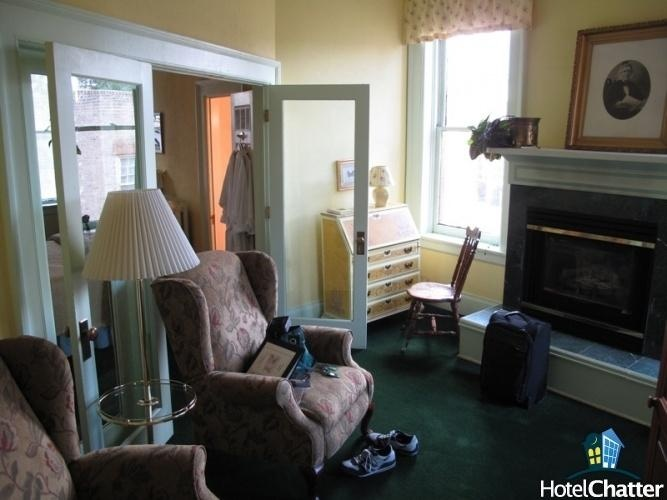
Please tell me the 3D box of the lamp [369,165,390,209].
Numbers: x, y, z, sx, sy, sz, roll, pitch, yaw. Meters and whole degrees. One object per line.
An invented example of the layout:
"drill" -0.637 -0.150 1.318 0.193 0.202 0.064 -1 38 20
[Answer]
"lamp" 0.438 -0.605 4.866 0.207 0.381 0.217 -7 12 -29

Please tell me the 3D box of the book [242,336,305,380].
"book" -0.352 0.653 3.063 0.220 0.237 0.063 7 -30 29

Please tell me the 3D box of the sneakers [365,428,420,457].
"sneakers" 0.369 1.210 3.315 0.353 0.143 0.134 6 9 20

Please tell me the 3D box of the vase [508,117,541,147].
"vase" 1.553 -0.910 4.241 0.211 0.317 0.302 5 10 44

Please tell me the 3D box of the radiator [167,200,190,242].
"radiator" -1.818 -0.357 6.035 0.166 0.259 0.158 0 15 46

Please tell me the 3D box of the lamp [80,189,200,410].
"lamp" -0.935 0.023 2.481 0.481 0.980 0.492 12 24 30

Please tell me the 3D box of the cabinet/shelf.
"cabinet/shelf" 0.374 0.124 4.951 0.855 1.050 0.456 -14 18 -33

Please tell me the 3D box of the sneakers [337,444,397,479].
"sneakers" 0.213 1.262 3.142 0.336 0.143 0.135 -1 1 -27

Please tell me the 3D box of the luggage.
"luggage" 1.368 0.783 3.868 0.481 0.676 0.464 6 11 24

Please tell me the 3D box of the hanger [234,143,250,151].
"hanger" -0.864 -0.971 4.897 0.096 0.026 0.093 5 -28 -19

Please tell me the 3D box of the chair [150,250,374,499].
"chair" -0.346 0.695 3.622 1.268 1.722 1.376 -1 6 19

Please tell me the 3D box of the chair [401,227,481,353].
"chair" 0.936 0.335 4.570 0.536 0.973 0.501 5 12 11
